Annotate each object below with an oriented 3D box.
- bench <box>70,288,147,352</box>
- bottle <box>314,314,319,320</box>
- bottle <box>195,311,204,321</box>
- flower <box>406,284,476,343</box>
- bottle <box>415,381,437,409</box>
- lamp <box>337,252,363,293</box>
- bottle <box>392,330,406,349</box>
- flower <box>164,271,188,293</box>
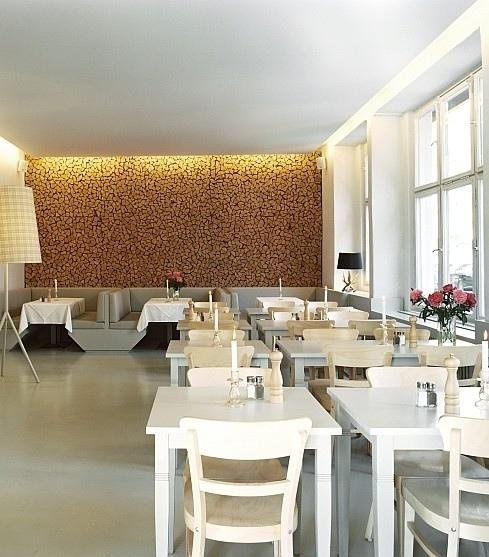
[{"bbox_3d":[-2.212,0.761,7.542,0.972,0.790,1.136,1,-2,-5],"label":"bench"},{"bbox_3d":[0.920,0.493,5.913,0.075,0.080,0.142,-2,-1,3],"label":"bottle"},{"bbox_3d":[-0.541,0.453,5.488,0.091,0.176,0.091,0,2,0],"label":"bottle"},{"bbox_3d":[1.443,0.256,3.280,0.373,0.427,0.433,0,3,32],"label":"flower"},{"bbox_3d":[0.641,0.408,1.629,0.063,0.079,0.094,-1,0,20],"label":"bottle"},{"bbox_3d":[1.751,-0.089,7.692,0.412,0.679,0.422,2,-1,19],"label":"lamp"},{"bbox_3d":[1.110,0.440,3.334,0.097,0.105,0.101,0,0,14],"label":"bottle"},{"bbox_3d":[-1.151,0.058,7.530,0.283,0.279,0.395,-1,0,-8],"label":"flower"}]
